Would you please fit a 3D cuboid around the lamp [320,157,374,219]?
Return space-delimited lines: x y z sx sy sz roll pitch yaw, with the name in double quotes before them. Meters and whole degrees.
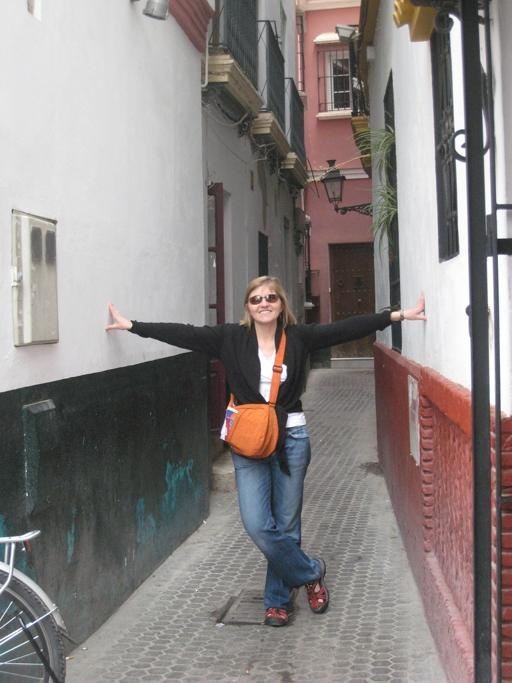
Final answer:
"lamp" 1.624 -2.709 12.491 0.752 1.312 0.412 -6 -31 7

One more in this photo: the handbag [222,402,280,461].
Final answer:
"handbag" -0.020 0.435 3.415 0.193 0.331 0.242 -2 -6 41

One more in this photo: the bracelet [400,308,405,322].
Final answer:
"bracelet" 0.719 -0.136 3.452 0.019 0.045 0.172 -1 0 12
